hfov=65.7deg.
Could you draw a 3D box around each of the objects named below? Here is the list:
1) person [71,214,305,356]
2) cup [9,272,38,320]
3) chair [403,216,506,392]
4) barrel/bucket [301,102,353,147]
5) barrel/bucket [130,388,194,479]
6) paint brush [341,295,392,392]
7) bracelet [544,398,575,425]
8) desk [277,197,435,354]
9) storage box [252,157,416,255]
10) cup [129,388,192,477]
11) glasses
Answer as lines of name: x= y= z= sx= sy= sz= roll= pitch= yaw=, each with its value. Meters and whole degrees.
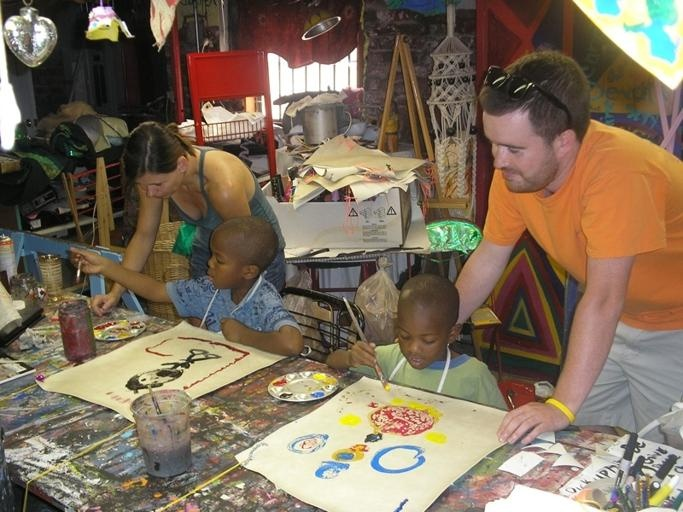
person: x=-0.615 y=0.120 z=2.207 sx=0.453 sy=0.730 sz=0.388 roll=-12 pitch=37 yaw=-42
cup: x=-1.304 y=0.150 z=2.166 sx=0.102 sy=0.147 sz=0.097 roll=7 pitch=18 yaw=-2
chair: x=0.706 y=0.289 z=3.382 sx=0.581 sy=1.022 sz=0.608 roll=26 pitch=18 yaw=32
barrel/bucket: x=-0.118 y=-1.044 z=4.176 sx=0.239 sy=0.314 sz=0.567 roll=7 pitch=16 yaw=38
barrel/bucket: x=-0.415 y=0.432 z=1.246 sx=0.133 sy=0.134 sz=0.130 roll=-5 pitch=-7 yaw=-1
paint brush: x=0.101 y=0.330 z=2.039 sx=0.024 sy=0.047 sz=0.406 roll=0 pitch=56 yaw=-59
bracelet: x=0.538 y=0.382 z=1.337 sx=0.069 sy=0.018 sz=0.064 roll=36 pitch=7 yaw=-34
desk: x=0.075 y=0.064 z=3.306 sx=0.820 sy=0.575 sz=0.506 roll=-2 pitch=52 yaw=8
storage box: x=0.032 y=-0.287 z=3.481 sx=0.811 sy=0.292 sz=0.759 roll=-1 pitch=18 yaw=14
cup: x=-0.412 y=0.419 z=1.250 sx=0.133 sy=0.137 sz=0.131 roll=-5 pitch=6 yaw=0
glasses: x=0.473 y=-0.434 z=1.346 sx=0.180 sy=0.052 sz=0.176 roll=18 pitch=12 yaw=-41
